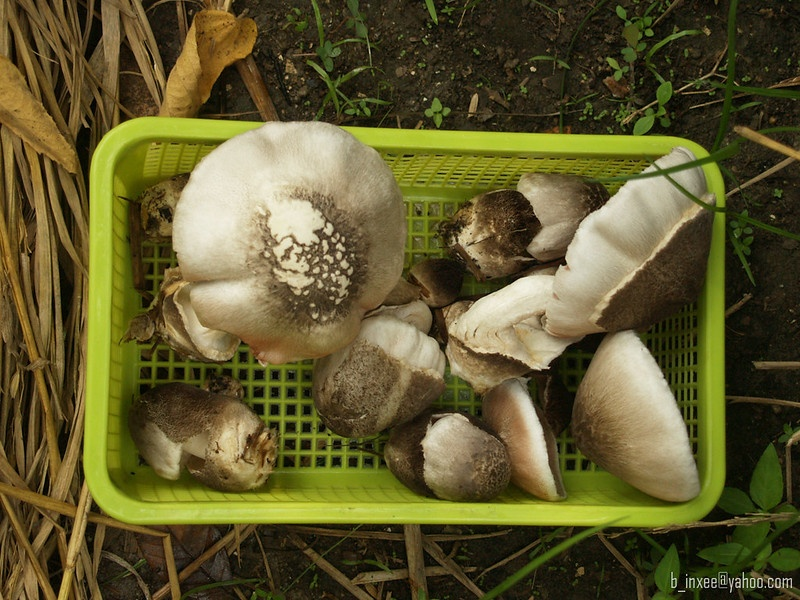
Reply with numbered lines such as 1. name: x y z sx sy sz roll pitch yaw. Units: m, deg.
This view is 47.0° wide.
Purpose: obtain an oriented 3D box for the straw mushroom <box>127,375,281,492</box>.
1. straw mushroom: -0.505 0.355 2.404 0.383 0.172 0.262 24 80 2

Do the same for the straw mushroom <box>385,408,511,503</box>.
1. straw mushroom: 0.130 0.418 2.412 0.257 0.143 0.289 -39 85 -6

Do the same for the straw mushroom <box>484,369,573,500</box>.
1. straw mushroom: 0.392 0.348 2.445 0.118 0.266 0.305 -23 51 -19
